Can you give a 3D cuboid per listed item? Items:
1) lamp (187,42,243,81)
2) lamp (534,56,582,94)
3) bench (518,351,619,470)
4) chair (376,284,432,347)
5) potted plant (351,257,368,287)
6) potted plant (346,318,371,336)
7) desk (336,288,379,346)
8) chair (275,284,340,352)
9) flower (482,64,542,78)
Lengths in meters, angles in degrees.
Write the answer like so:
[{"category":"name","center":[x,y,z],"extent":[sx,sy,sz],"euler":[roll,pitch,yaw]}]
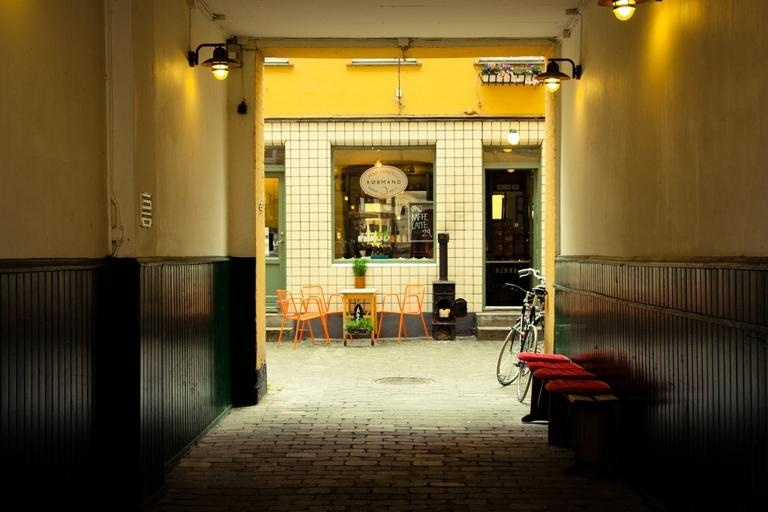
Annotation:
[{"category":"lamp","center":[-1.795,-2.107,7.427],"extent":[0.570,0.389,0.403],"euler":[1,3,27]},{"category":"lamp","center":[1.986,-2.059,7.865],"extent":[0.490,0.388,0.337],"euler":[0,1,14]},{"category":"bench","center":[1.860,1.462,7.153],"extent":[0.644,1.000,1.716],"euler":[-1,1,0]},{"category":"chair","center":[0.429,1.111,13.845],"extent":[0.946,1.589,1.086],"euler":[-1,-2,39]},{"category":"potted plant","center":[-0.459,0.332,13.858],"extent":[0.320,0.577,0.308],"euler":[-1,1,-26]},{"category":"potted plant","center":[-0.491,1.372,13.454],"extent":[0.340,0.248,0.354],"euler":[0,-4,-11]},{"category":"desk","center":[-0.496,1.210,13.535],"extent":[0.812,0.972,0.728],"euler":[-1,-6,11]},{"category":"chair","center":[-1.702,1.137,13.424],"extent":[0.979,1.477,1.110],"euler":[-1,0,32]},{"category":"flower","center":[2.484,-3.666,13.748],"extent":[1.121,0.260,0.245],"euler":[-1,1,5]}]
